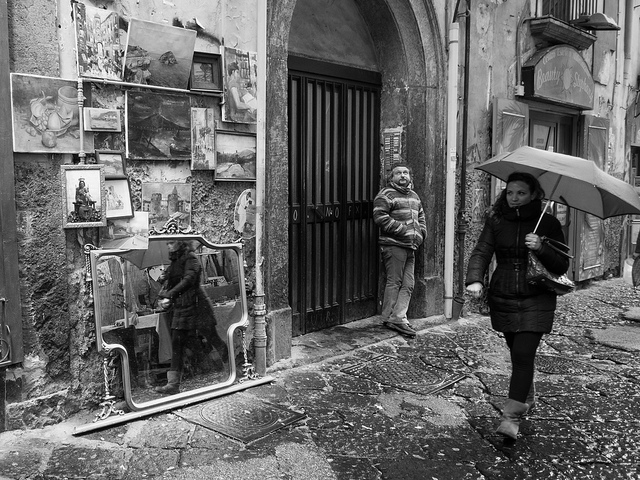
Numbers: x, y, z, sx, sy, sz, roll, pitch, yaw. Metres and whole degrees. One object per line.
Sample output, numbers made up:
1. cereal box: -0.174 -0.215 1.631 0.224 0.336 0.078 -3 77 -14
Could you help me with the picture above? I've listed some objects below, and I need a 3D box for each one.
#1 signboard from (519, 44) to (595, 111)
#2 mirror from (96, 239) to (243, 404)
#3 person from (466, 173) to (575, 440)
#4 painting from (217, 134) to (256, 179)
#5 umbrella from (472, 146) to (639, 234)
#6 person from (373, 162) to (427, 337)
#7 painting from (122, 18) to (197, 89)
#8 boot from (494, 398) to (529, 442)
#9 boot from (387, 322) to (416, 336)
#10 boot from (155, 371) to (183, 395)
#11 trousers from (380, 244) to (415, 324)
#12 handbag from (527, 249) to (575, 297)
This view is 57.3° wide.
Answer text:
1. signboard: 3.776 -2.624 9.273 2.126 0.931 0.229 -7 13 -44
2. mirror: -1.279 0.675 4.782 0.067 1.323 1.261 -8 -3 44
3. person: 1.544 0.450 4.622 0.687 1.942 0.700 -3 10 -30
4. painting: -0.774 -0.768 5.295 0.403 0.401 0.052 -3 6 -38
5. umbrella: 1.910 -0.471 4.659 0.829 0.496 0.827 33 -6 -22
6. person: 0.922 0.086 6.920 0.594 1.965 0.487 4 9 10
7. painting: -1.337 -1.532 4.764 0.469 0.564 0.055 -27 27 -33
8. boot: 1.441 1.369 4.403 0.200 0.339 0.210 5 10 19
9. boot: 0.962 1.019 6.858 0.290 0.122 0.110 16 4 25
10. boot: -1.221 1.157 4.686 0.242 0.188 0.108 8 -9 -34
11. trousers: 0.903 0.520 6.929 0.397 0.955 0.234 3 9 6
12. handbag: 1.768 0.233 4.543 0.371 0.395 0.186 9 -27 3
